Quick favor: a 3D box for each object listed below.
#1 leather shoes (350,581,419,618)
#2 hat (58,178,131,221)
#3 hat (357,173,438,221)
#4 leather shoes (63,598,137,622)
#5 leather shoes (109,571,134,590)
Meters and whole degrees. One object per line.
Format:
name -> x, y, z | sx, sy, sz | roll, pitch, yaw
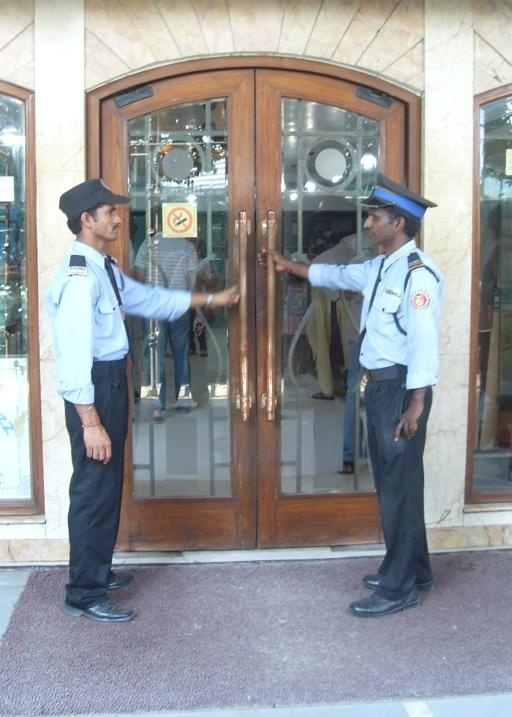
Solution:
leather shoes -> 0.501, 0.963, 3.146 | 0.269, 0.098, 0.096 | -1, -8, -11
hat -> -0.603, -0.586, 2.989 | 0.229, 0.107, 0.140 | -25, 18, 1
hat -> 0.573, -0.626, 3.147 | 0.314, 0.142, 0.252 | 13, 9, -22
leather shoes -> -0.587, 0.962, 3.016 | 0.258, 0.113, 0.092 | 2, -4, 4
leather shoes -> -0.581, 0.922, 3.332 | 0.060, 0.048, 0.128 | 7, 11, 38
